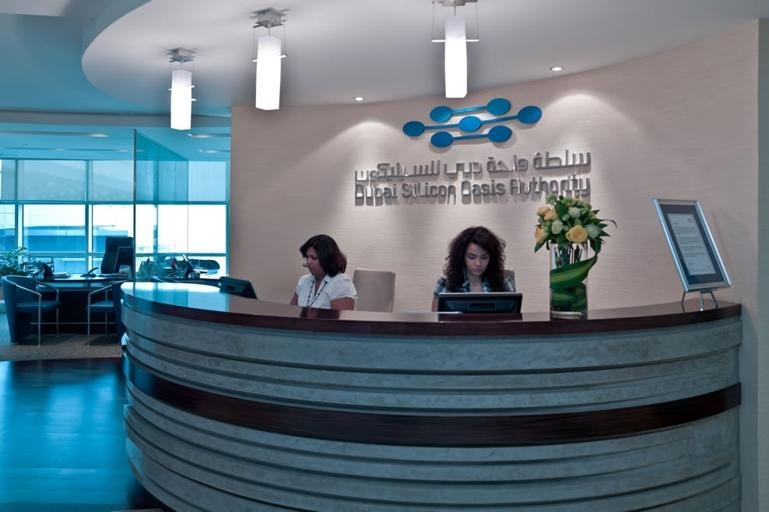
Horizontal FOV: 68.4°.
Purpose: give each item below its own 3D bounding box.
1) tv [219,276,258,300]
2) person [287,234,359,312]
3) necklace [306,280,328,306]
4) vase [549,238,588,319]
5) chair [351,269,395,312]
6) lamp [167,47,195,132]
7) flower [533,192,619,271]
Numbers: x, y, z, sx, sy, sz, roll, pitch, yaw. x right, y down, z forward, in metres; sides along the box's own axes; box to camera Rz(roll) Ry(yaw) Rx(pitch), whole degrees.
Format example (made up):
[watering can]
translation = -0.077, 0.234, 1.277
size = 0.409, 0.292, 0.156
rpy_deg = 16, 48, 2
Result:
[tv]
translation = -1.330, 0.278, 5.045
size = 0.325, 0.103, 0.199
rpy_deg = 6, -35, 20
[person]
translation = -0.584, 0.155, 5.696
size = 0.503, 0.772, 0.898
rpy_deg = 8, -7, -33
[necklace]
translation = -0.628, 0.362, 5.289
size = 0.064, 0.229, 0.184
rpy_deg = 30, -15, -22
[vase]
translation = 1.265, 0.166, 3.914
size = 0.248, 0.484, 0.172
rpy_deg = -1, 0, 14
[chair]
translation = -0.098, 0.371, 6.112
size = 0.444, 0.530, 0.463
rpy_deg = 0, -7, 6
[lamp]
translation = -2.091, -1.702, 5.849
size = 0.232, 0.543, 0.665
rpy_deg = -1, 0, -20
[flower]
translation = 1.364, -0.182, 4.054
size = 0.471, 0.391, 0.411
rpy_deg = 11, 38, 29
